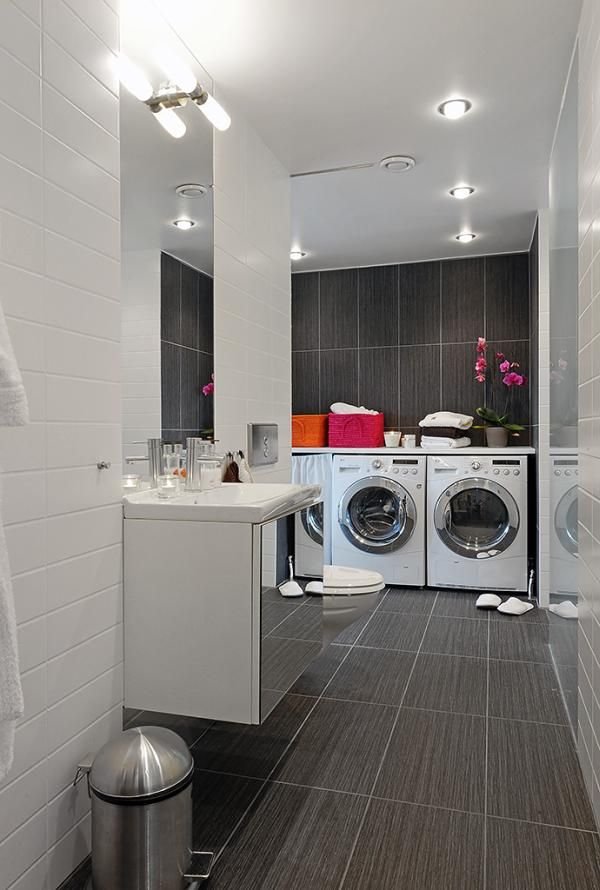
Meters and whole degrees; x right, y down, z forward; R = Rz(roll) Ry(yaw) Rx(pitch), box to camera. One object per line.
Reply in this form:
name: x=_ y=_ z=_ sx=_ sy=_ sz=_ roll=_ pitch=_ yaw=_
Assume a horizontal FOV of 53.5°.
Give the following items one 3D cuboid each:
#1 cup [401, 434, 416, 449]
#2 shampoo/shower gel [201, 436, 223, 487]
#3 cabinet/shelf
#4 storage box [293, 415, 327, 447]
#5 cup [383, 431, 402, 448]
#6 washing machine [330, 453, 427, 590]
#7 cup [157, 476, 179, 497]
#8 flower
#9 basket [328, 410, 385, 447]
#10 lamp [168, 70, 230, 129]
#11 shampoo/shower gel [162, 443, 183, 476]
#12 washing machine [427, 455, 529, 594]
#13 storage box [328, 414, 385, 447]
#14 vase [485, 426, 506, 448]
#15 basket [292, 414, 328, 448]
cup: x=0.798 y=-0.034 z=4.377 sx=0.106 sy=0.122 sz=0.095 roll=1 pitch=2 yaw=41
shampoo/shower gel: x=-0.277 y=0.060 z=1.944 sx=0.078 sy=0.138 sz=0.128 roll=-1 pitch=6 yaw=-11
cabinet/shelf: x=-0.209 y=0.395 z=1.656 sx=0.366 sy=0.680 sz=0.803 roll=-1 pitch=0 yaw=13
storage box: x=0.061 y=-0.103 z=4.469 sx=0.209 sy=0.197 sz=0.232 roll=1 pitch=-1 yaw=8
cup: x=0.698 y=-0.041 z=4.436 sx=0.104 sy=0.108 sz=0.125 roll=0 pitch=-2 yaw=-2
washing machine: x=0.785 y=0.540 z=4.461 sx=0.692 sy=1.182 sz=0.801 roll=0 pitch=-4 yaw=17
cup: x=-0.371 y=0.108 z=1.642 sx=0.050 sy=0.060 sz=0.050 roll=2 pitch=2 yaw=0
flower: x=1.484 y=-0.413 z=4.358 sx=0.348 sy=0.760 sz=0.372 roll=3 pitch=4 yaw=44
basket: x=0.407 y=-0.110 z=4.385 sx=0.254 sy=0.196 sz=0.285 roll=1 pitch=7 yaw=10
lamp: x=-0.316 y=-1.065 z=1.830 sx=0.070 sy=0.094 sz=0.322 roll=-2 pitch=4 yaw=12
shampoo/shower gel: x=-0.402 y=0.044 z=1.833 sx=0.066 sy=0.148 sz=0.075 roll=1 pitch=4 yaw=-16
washing machine: x=1.202 y=0.527 z=4.292 sx=0.730 sy=1.286 sz=0.777 roll=0 pitch=-4 yaw=13
storage box: x=0.409 y=-0.103 z=4.384 sx=0.253 sy=0.193 sz=0.282 roll=1 pitch=5 yaw=11
vase: x=1.424 y=-0.058 z=4.299 sx=0.128 sy=0.116 sz=0.133 roll=1 pitch=0 yaw=-25
basket: x=0.069 y=-0.107 z=4.467 sx=0.212 sy=0.198 sz=0.233 roll=1 pitch=-1 yaw=6
